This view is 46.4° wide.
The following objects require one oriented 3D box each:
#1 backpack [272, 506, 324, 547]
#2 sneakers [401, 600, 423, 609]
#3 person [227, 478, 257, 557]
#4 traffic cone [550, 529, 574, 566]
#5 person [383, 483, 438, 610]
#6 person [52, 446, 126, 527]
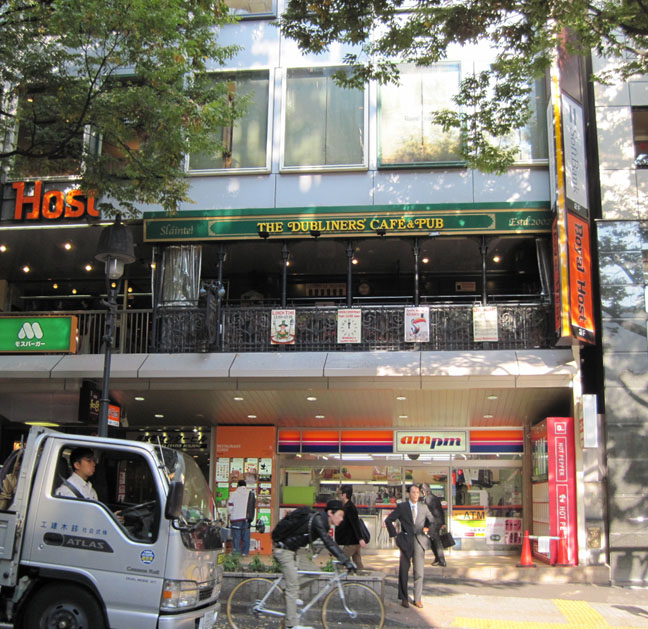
[{"bbox_3d":[-0.296,2.437,8.596,0.544,0.542,0.405,-6,7,-11],"label":"backpack"},{"bbox_3d":[1.313,4.322,11.264,0.359,0.144,0.118,-2,-8,9],"label":"sneakers"},{"bbox_3d":[-1.869,4.566,16.888,0.561,1.644,1.583,-1,-8,-7],"label":"person"},{"bbox_3d":[4.670,4.558,14.858,0.465,0.670,0.221,-4,-8,16],"label":"traffic cone"},{"bbox_3d":[1.373,3.625,11.993,0.721,1.824,1.477,-3,-8,7],"label":"person"},{"bbox_3d":[-2.637,1.817,8.169,0.389,0.723,0.824,-10,-19,12],"label":"person"}]
